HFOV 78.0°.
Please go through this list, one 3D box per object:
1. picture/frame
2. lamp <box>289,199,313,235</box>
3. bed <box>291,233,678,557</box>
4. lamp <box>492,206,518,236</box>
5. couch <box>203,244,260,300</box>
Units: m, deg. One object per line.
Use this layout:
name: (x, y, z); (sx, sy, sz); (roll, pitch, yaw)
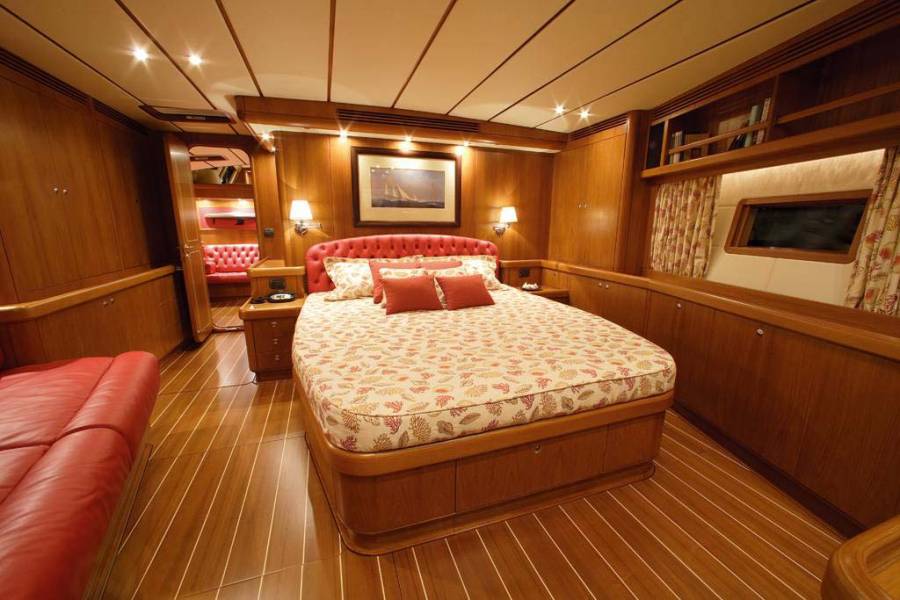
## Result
picture/frame: (-0.555, -1.316, 6.357); (1.018, 0.633, 0.024); (-2, 16, -12)
lamp: (-1.612, -0.887, 6.030); (0.232, 0.383, 0.215); (-3, 14, -14)
bed: (0.073, 0.647, 5.134); (2.896, 1.708, 2.522); (-4, 13, -17)
lamp: (0.667, -0.955, 6.750); (0.298, 0.392, 0.343); (-3, 17, -10)
couch: (-3.324, -0.396, 8.366); (0.886, 0.706, 0.494); (-3, 12, -19)
